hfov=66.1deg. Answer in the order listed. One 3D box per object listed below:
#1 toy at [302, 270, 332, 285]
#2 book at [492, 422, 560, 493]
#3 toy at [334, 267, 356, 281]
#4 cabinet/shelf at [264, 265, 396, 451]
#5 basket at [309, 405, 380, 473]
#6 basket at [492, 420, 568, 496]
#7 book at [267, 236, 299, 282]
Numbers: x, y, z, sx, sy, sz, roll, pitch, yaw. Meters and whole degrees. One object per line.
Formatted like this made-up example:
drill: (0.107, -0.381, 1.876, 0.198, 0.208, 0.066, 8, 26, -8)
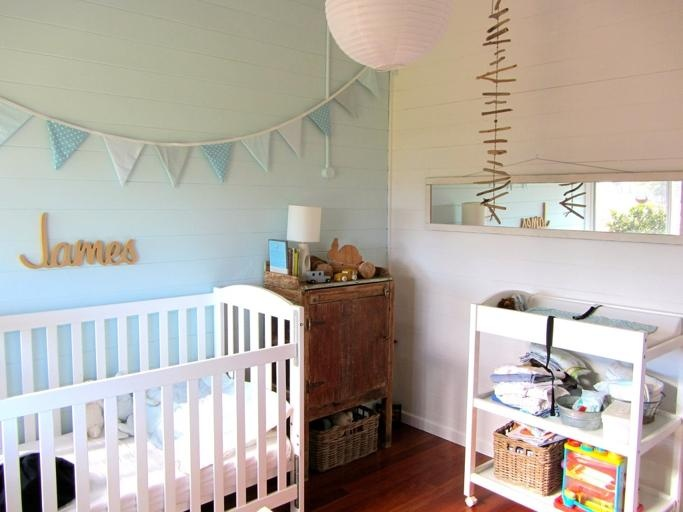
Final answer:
toy: (-0.146, 0.121, 2.967, 0.137, 0.064, 0.072, -4, 7, -32)
book: (0.880, 0.999, 2.530, 0.272, 0.215, 0.272, 4, 5, 26)
toy: (0.027, 0.106, 3.079, 0.104, 0.049, 0.071, 0, 1, -32)
cabinet/shelf: (-0.066, 0.600, 3.217, 0.729, 1.071, 0.516, -8, 13, -44)
basket: (-0.010, 1.110, 3.238, 0.467, 0.217, 0.271, -4, 4, -33)
basket: (0.931, 0.962, 2.600, 0.292, 0.231, 0.294, 4, 3, 33)
book: (-0.338, 0.011, 3.004, 0.079, 0.205, 0.315, -8, 7, -41)
